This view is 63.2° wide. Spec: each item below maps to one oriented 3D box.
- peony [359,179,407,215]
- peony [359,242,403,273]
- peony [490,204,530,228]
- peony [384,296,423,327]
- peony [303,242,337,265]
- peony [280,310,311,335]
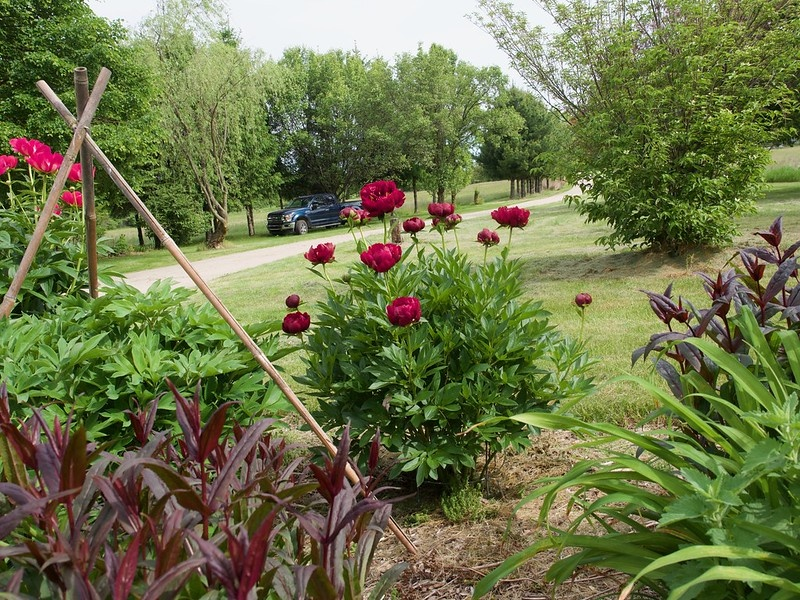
[{"bbox_3d":[-0.097,-0.525,3.499,0.301,0.165,0.295,-15,1,-1],"label":"peony"},{"bbox_3d":[-0.087,-0.200,3.166,0.189,0.156,0.196,-11,13,-18],"label":"peony"},{"bbox_3d":[0.641,-0.476,3.783,0.169,0.105,0.175,-2,6,-35],"label":"peony"},{"bbox_3d":[0.010,0.070,2.945,0.133,0.162,0.172,-13,14,-28],"label":"peony"},{"bbox_3d":[-0.423,-0.240,3.497,0.161,0.146,0.161,-9,-4,-11],"label":"peony"},{"bbox_3d":[-0.533,0.114,3.404,0.112,0.089,0.138,-4,5,-1],"label":"peony"}]
